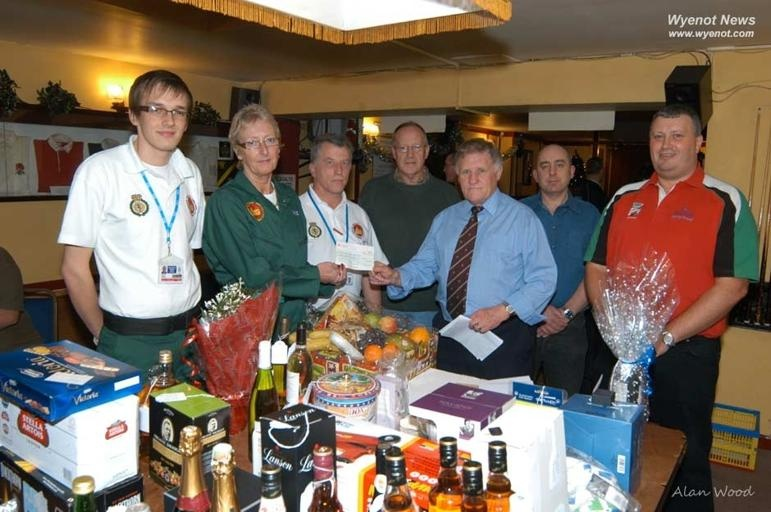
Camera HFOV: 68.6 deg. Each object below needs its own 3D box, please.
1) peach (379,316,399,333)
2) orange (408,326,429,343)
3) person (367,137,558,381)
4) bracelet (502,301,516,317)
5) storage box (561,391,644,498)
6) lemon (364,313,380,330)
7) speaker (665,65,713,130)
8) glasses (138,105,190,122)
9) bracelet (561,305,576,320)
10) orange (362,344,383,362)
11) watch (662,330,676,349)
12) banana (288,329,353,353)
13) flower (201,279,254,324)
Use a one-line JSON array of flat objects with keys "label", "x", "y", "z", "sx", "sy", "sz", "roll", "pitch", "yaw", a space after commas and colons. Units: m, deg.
[{"label": "peach", "x": 0.018, "y": 0.350, "z": 2.917, "sx": 0.072, "sy": 0.072, "sz": 0.074, "roll": 7, "pitch": 16, "yaw": 29}, {"label": "orange", "x": 0.164, "y": 0.393, "z": 2.867, "sx": 0.070, "sy": 0.071, "sz": 0.069, "roll": -32, "pitch": 21, "yaw": -35}, {"label": "person", "x": 0.514, "y": 0.488, "z": 3.795, "sx": 1.122, "sy": 2.326, "sz": 0.832, "roll": 4, "pitch": 7, "yaw": 41}, {"label": "bracelet", "x": 0.741, "y": 0.335, "z": 3.422, "sx": 0.076, "sy": 0.087, "sz": 0.041, "roll": -6, "pitch": 11, "yaw": -24}, {"label": "storage box", "x": 0.894, "y": 0.779, "z": 2.348, "sx": 0.289, "sy": 0.298, "sz": 0.159, "roll": 6, "pitch": 12, "yaw": 42}, {"label": "lemon", "x": -0.068, "y": 0.348, "z": 2.936, "sx": 0.067, "sy": 0.067, "sz": 0.083, "roll": -1, "pitch": 46, "yaw": 1}, {"label": "speaker", "x": 2.171, "y": -1.203, "z": 4.064, "sx": 0.239, "sy": 0.402, "sz": 0.418, "roll": 15, "pitch": 61, "yaw": 37}, {"label": "glasses", "x": -1.175, "y": -0.758, "z": 3.035, "sx": 0.261, "sy": 0.077, "sz": 0.118, "roll": -7, "pitch": 11, "yaw": -28}, {"label": "bracelet", "x": 1.281, "y": 0.410, "z": 4.020, "sx": 0.071, "sy": 0.106, "sz": 0.097, "roll": -38, "pitch": -10, "yaw": 9}, {"label": "orange", "x": -0.054, "y": 0.447, "z": 2.607, "sx": 0.066, "sy": 0.072, "sz": 0.072, "roll": -32, "pitch": -28, "yaw": 34}, {"label": "watch", "x": 1.532, "y": 0.457, "z": 3.075, "sx": 0.056, "sy": 0.092, "sz": 0.089, "roll": -15, "pitch": 3, "yaw": 19}, {"label": "banana", "x": -0.286, "y": 0.370, "z": 2.624, "sx": 0.216, "sy": 0.047, "sz": 0.122, "roll": 5, "pitch": 21, "yaw": 22}, {"label": "flower", "x": -0.708, "y": 0.203, "z": 2.559, "sx": 0.222, "sy": 0.118, "sz": 0.307, "roll": -4, "pitch": 10, "yaw": -16}]
